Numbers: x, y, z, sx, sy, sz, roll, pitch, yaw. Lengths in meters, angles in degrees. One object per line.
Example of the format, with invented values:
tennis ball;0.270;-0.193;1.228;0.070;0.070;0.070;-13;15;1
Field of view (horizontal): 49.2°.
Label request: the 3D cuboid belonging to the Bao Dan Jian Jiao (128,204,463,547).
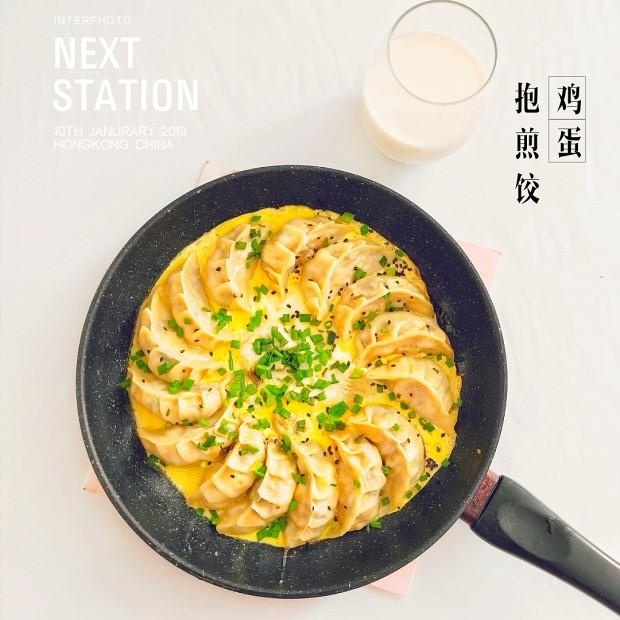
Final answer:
Bao Dan Jian Jiao;-0.094;0.345;3.138;0.975;0.315;1.792;15;69;4
